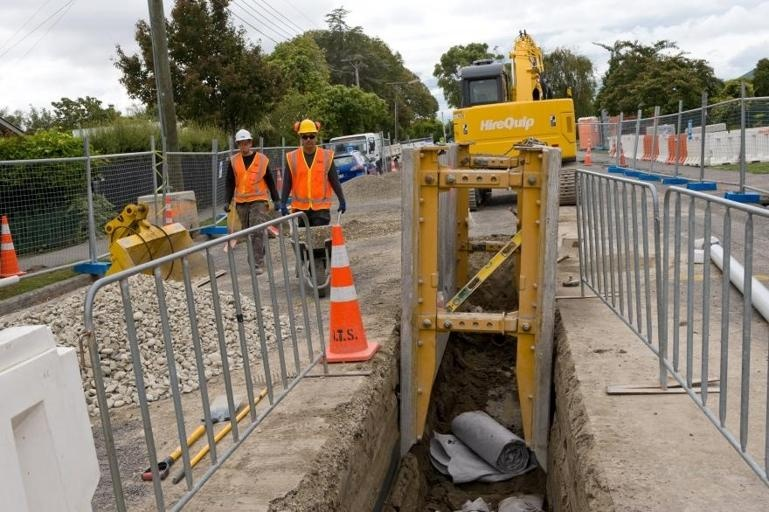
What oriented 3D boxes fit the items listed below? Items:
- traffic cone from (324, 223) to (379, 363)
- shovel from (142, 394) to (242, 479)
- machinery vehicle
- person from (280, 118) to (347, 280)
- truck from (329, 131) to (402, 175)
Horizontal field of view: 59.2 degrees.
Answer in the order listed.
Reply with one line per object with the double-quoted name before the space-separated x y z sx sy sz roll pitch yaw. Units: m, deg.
"traffic cone" -0.301 0.360 6.588 0.521 1.237 0.528 0 5 5
"shovel" -1.587 1.452 5.629 0.376 0.195 1.217 -1 13 24
"machinery vehicle" 2.934 -2.757 15.139 2.471 3.843 3.486 -4 12 11
"person" -0.957 -0.620 9.061 0.757 2.133 0.524 -3 -3 3
"truck" -0.623 -4.517 33.500 2.227 2.146 6.912 -3 7 16
